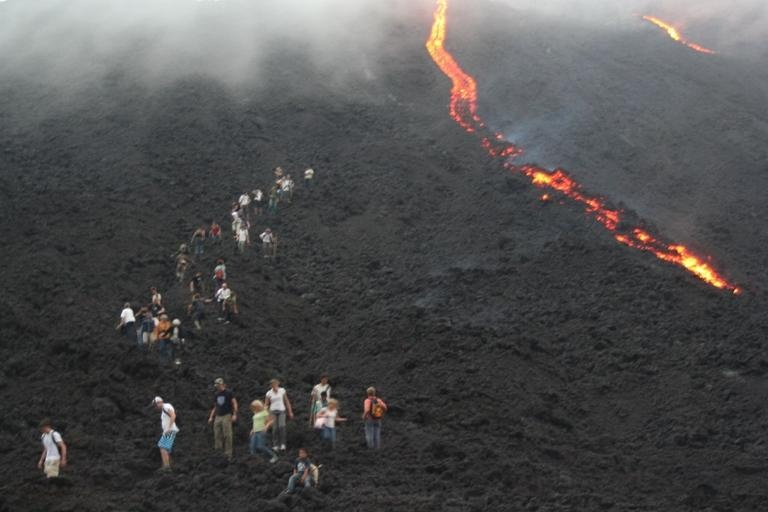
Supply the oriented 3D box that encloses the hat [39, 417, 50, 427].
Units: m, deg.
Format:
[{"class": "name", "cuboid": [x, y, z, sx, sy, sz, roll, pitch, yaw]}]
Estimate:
[{"class": "hat", "cuboid": [-22.595, 11.239, 77.009, 0.558, 0.953, 0.751, -7, 55, -10]}]
